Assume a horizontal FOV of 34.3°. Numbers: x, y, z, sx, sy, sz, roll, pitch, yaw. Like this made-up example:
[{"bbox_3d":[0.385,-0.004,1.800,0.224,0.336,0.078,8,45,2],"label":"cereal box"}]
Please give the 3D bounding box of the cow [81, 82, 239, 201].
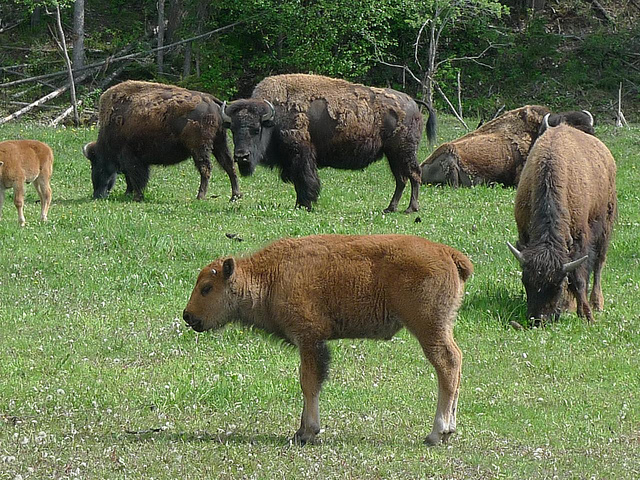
[{"bbox_3d":[-4.346,-2.624,27.450,3.707,2.942,1.689,5,11,26],"label":"cow"}]
